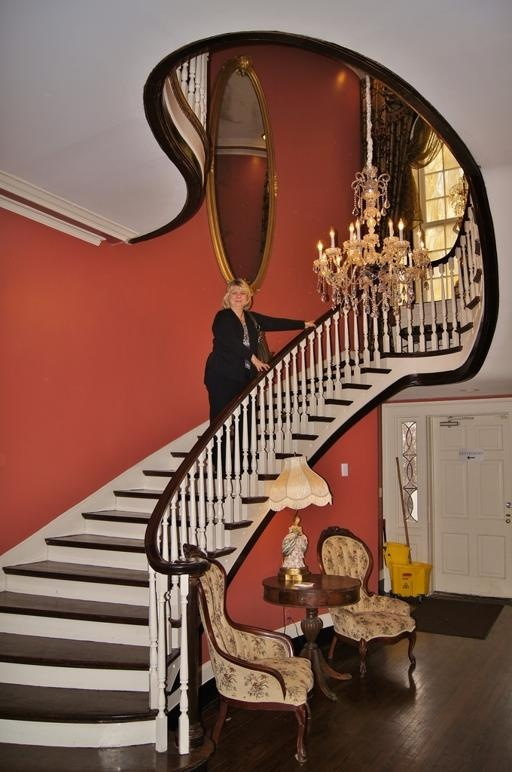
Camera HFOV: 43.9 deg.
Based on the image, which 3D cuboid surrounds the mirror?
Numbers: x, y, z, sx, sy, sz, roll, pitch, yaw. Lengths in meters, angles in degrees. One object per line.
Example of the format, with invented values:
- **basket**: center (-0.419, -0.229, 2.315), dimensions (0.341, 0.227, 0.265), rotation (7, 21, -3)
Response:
- **mirror**: center (-0.137, -2.173, 6.484), dimensions (0.265, 2.414, 1.066), rotation (-8, -9, 37)

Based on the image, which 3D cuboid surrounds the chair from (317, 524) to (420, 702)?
- **chair**: center (0.870, 1.731, 5.179), dimensions (0.636, 1.083, 0.724), rotation (0, -8, -21)

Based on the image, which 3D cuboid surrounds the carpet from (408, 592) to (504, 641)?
- **carpet**: center (1.983, 2.328, 6.522), dimensions (0.913, 0.066, 1.715), rotation (-6, -8, 26)
